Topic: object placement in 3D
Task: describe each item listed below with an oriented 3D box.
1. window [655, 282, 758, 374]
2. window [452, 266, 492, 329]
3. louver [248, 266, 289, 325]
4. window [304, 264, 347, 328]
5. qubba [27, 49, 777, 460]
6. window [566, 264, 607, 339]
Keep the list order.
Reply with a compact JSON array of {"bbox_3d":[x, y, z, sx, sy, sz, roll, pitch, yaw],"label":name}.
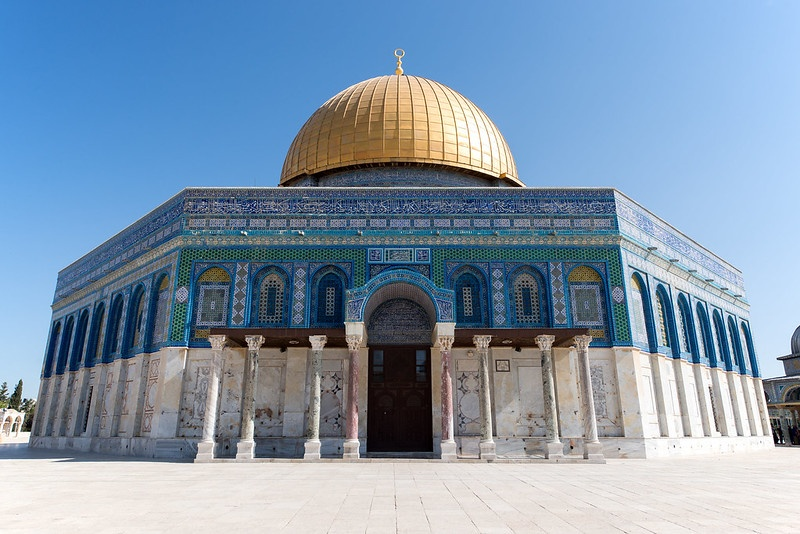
[{"bbox_3d":[14.038,2.925,26.492,6.343,2.250,0.369,19,-28,-38],"label":"window"},{"bbox_3d":[2.641,1.205,22.193,1.407,2.412,0.218,1,-12,-11],"label":"window"},{"bbox_3d":[-5.009,1.152,22.136,1.411,2.344,0.382,-3,-21,7],"label":"louver"},{"bbox_3d":[-2.713,1.192,22.229,1.679,2.883,0.247,10,-34,-21],"label":"window"},{"bbox_3d":[-0.611,-2.236,26.903,31.608,21.621,11.431,-4,-20,9],"label":"qubba"},{"bbox_3d":[7.303,1.404,22.005,1.328,2.927,0.399,3,-21,-9],"label":"window"}]
